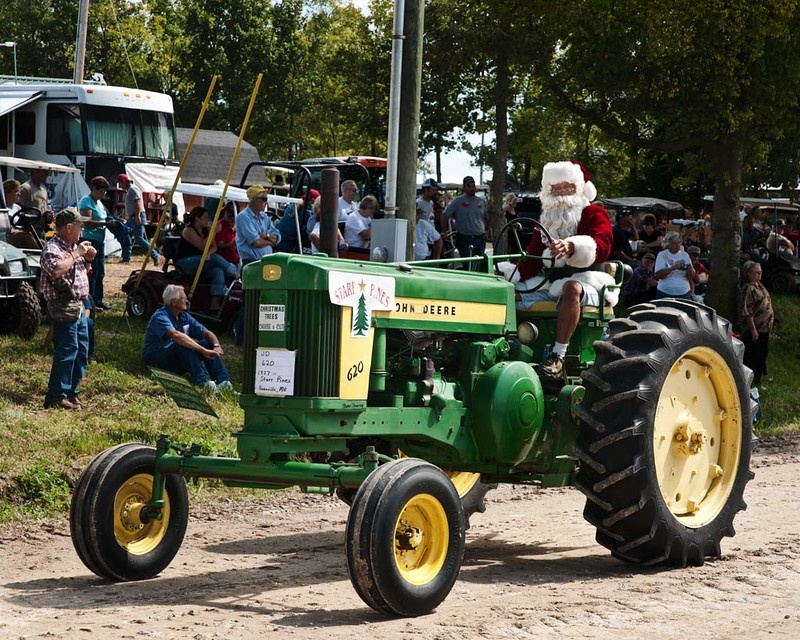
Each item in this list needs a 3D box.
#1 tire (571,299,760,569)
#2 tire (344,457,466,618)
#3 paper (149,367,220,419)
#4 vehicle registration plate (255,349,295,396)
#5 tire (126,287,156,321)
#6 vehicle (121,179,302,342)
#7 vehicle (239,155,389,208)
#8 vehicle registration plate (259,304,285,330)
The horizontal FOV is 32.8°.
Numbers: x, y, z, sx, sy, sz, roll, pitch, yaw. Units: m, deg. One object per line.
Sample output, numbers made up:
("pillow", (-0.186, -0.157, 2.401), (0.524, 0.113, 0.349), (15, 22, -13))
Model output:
("tire", (2.220, 0.958, 11.439), (1.977, 2.161, 0.657), (-4, 2, -44))
("tire", (0.044, 1.650, 10.303), (0.965, 1.004, 0.314), (7, -14, -44))
("paper", (-2.129, 0.711, 13.490), (0.745, 0.073, 0.967), (42, -18, -22))
("vehicle registration plate", (-0.945, 0.391, 10.626), (0.325, 0.385, 0.027), (1, -3, 25))
("tire", (-3.447, -0.249, 18.293), (0.404, 0.451, 0.147), (-3, -4, 43))
("vehicle", (-2.170, -0.744, 18.564), (2.569, 2.130, 1.546), (2, 4, 34))
("vehicle", (-1.557, -2.300, 24.822), (2.195, 1.458, 1.391), (-6, 9, -2))
("vehicle registration plate", (-0.978, -0.047, 10.653), (0.174, 0.175, 0.019), (2, -2, 25))
